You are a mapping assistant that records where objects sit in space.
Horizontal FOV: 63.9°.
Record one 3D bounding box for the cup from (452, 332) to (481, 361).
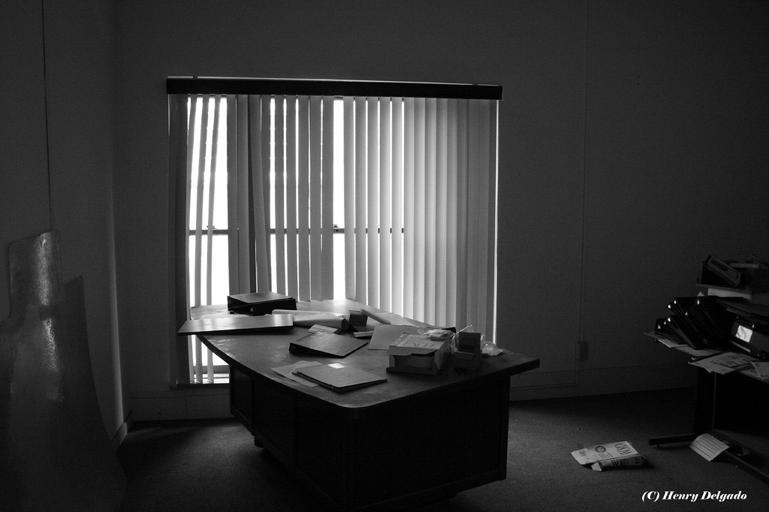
[{"bbox_3d":[0.521,0.557,3.886,0.154,0.165,0.108,1,7,15],"label":"cup"}]
